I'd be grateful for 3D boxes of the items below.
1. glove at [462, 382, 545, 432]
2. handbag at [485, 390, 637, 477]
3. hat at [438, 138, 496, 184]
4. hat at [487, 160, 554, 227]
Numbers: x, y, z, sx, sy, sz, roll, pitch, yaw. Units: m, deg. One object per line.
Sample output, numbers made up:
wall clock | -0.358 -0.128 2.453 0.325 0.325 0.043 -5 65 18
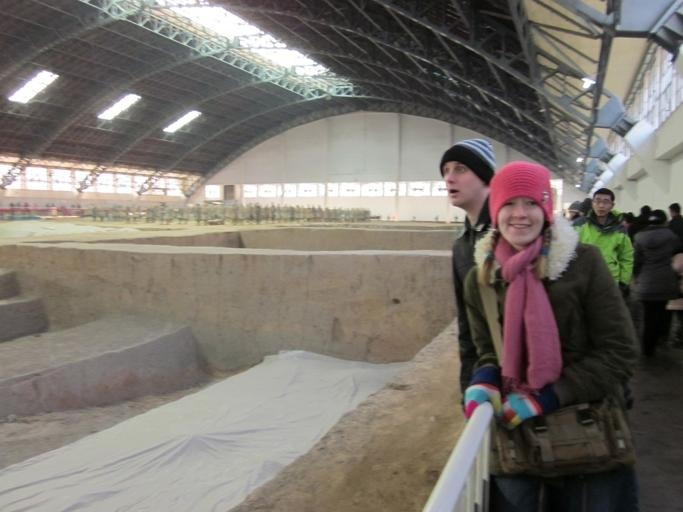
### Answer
glove | 0.696 0.653 2.172 0.415 0.126 0.337 0 15 1
handbag | 0.932 0.758 2.060 0.470 0.150 0.338 -6 20 13
hat | 0.733 -0.561 2.790 0.317 0.269 0.300 -2 3 -39
hat | 0.840 -0.300 2.332 0.279 0.247 0.309 -3 3 14
